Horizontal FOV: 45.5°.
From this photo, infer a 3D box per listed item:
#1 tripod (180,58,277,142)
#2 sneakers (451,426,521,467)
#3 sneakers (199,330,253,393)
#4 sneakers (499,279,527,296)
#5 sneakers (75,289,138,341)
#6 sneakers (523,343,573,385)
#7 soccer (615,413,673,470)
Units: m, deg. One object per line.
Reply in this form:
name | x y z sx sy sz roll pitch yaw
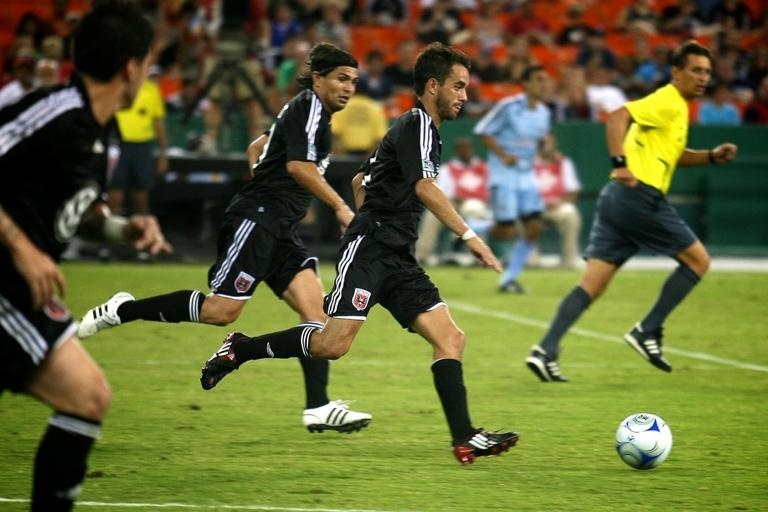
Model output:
tripod | -2.405 -2.426 13.993 1.311 0.935 0.908 -1 42 -11
sneakers | 0.574 1.108 5.438 0.473 0.156 0.190 -19 66 -12
sneakers | -1.172 0.794 6.800 0.524 0.184 0.251 -43 36 -13
sneakers | 1.702 0.387 12.530 0.466 0.261 0.137 -1 36 -7
sneakers | -2.359 0.515 7.786 0.269 0.653 0.212 42 25 -53
sneakers | 1.249 0.856 7.253 0.492 0.196 0.162 34 2 -22
soccer | 1.540 1.118 5.477 0.297 0.276 0.161 3 8 11
